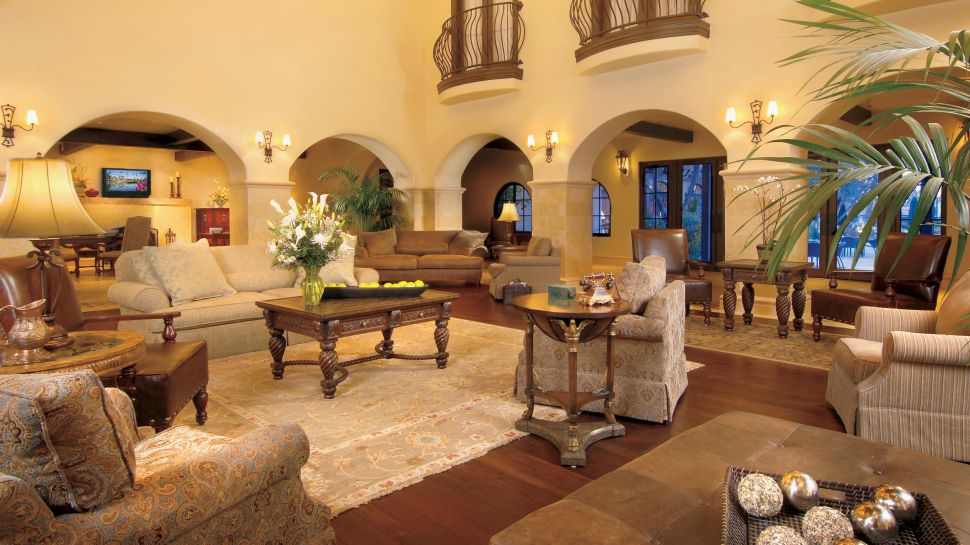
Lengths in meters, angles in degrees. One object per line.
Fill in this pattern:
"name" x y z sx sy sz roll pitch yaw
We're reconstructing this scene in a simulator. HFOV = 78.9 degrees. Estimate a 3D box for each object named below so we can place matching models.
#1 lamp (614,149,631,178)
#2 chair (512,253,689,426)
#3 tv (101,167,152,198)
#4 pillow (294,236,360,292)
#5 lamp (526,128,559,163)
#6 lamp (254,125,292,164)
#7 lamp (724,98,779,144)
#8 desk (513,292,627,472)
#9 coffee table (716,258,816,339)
"lamp" 3.523 -2.763 14.930 0.339 0.686 0.153 5 12 26
"chair" 1.306 0.565 5.802 1.553 1.293 1.533 2 2 25
"tv" -9.373 -2.345 15.319 1.046 0.640 0.102 1 -4 -37
"pillow" -2.010 -0.055 7.318 0.840 0.938 0.869 1 6 -8
"lamp" 1.104 -2.433 11.377 0.173 0.600 0.712 -9 13 -40
"lamp" -4.098 -2.483 11.304 0.288 0.709 0.893 0 2 38
"lamp" 4.030 -2.276 8.920 0.318 0.676 0.788 -7 11 -34
"desk" 0.615 0.800 5.198 1.314 1.328 1.315 1 2 41
"coffee table" 3.697 0.368 7.740 1.119 0.857 0.812 4 8 43
